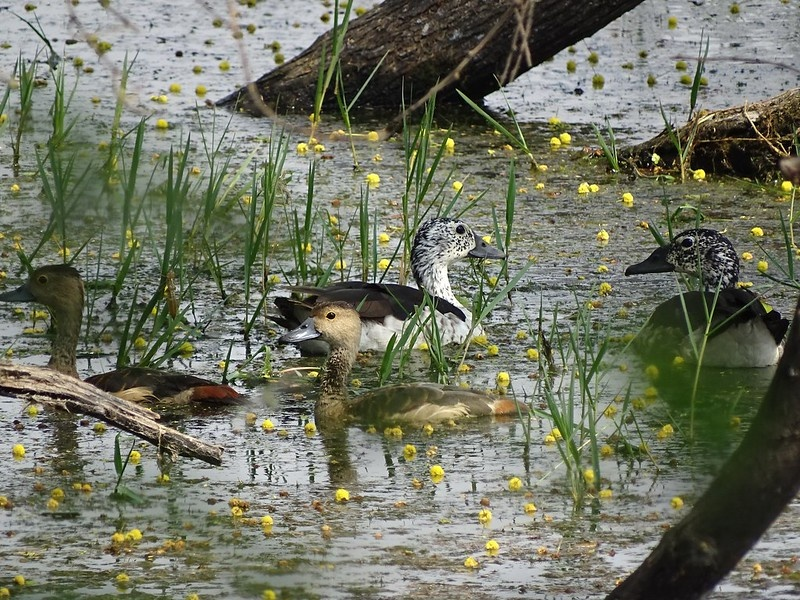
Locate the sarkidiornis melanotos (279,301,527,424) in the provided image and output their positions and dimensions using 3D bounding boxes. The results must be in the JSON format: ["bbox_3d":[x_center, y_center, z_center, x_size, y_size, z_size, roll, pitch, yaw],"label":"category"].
[{"bbox_3d":[0.043,0.453,8.034,1.603,0.796,0.504,3,11,-17],"label":"sarkidiornis melanotos"}]

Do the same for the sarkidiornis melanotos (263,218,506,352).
[{"bbox_3d":[-0.066,-0.040,9.329,1.942,1.134,0.684,1,-8,-39],"label":"sarkidiornis melanotos"}]
